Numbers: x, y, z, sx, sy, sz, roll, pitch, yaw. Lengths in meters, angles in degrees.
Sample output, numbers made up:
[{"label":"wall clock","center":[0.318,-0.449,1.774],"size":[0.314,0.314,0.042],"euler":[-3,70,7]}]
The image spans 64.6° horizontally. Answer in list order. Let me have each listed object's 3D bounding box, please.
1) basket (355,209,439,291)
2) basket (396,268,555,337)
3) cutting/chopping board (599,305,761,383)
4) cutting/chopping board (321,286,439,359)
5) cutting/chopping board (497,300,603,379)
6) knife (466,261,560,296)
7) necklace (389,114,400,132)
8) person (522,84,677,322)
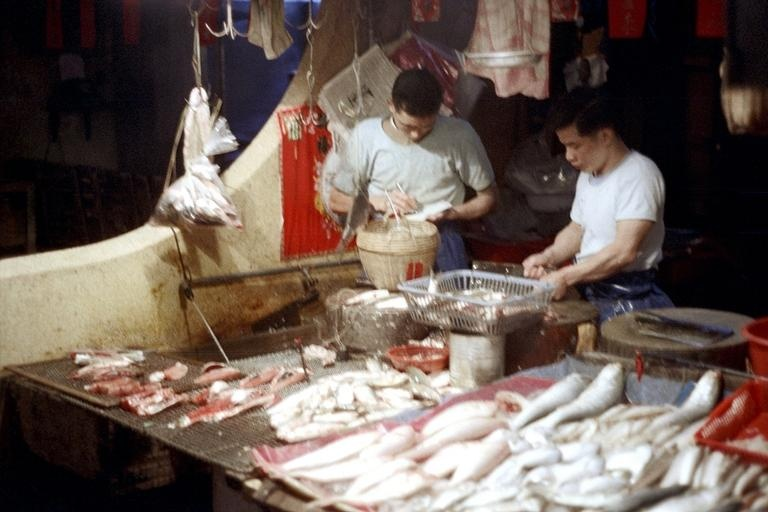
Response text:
[{"label":"basket","center":[0.091,-0.010,4.321],"size":[0.565,0.447,0.596],"euler":[10,19,32]},{"label":"basket","center":[0.567,0.309,3.584],"size":[0.735,0.414,0.707],"euler":[6,19,42]},{"label":"cutting/chopping board","center":[1.668,0.469,3.481],"size":[0.468,0.193,0.495],"euler":[5,16,32]},{"label":"cutting/chopping board","center":[-0.139,0.365,4.184],"size":[0.744,0.290,0.764],"euler":[-26,17,-16]},{"label":"cutting/chopping board","center":[1.061,0.442,3.860],"size":[0.433,0.563,0.463],"euler":[-1,10,1]},{"label":"knife","center":[0.870,0.123,4.543],"size":[0.411,0.155,0.280],"euler":[-1,9,-25]},{"label":"necklace","center":[0.074,-1.071,4.864],"size":[0.039,0.121,0.155],"euler":[-10,14,-16]},{"label":"person","center":[1.548,-0.366,4.515],"size":[1.121,1.711,0.678],"euler":[-11,14,-18]}]
